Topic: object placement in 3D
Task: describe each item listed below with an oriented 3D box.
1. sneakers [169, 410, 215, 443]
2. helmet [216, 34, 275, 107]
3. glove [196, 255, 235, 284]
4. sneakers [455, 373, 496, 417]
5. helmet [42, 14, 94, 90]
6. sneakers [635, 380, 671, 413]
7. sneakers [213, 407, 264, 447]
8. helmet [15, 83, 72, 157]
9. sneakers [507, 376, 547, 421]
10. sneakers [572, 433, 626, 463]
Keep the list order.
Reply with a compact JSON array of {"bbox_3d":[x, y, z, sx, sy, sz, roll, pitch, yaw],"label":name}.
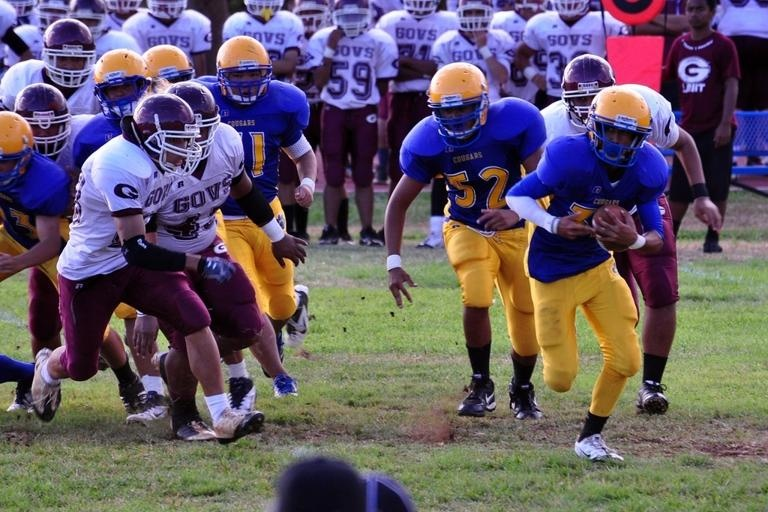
[{"bbox_3d":[-1.185,1.052,5.816,0.275,0.108,0.144,5,5,32],"label":"sneakers"},{"bbox_3d":[-0.952,-1.328,6.604,0.368,0.404,0.476,-5,40,-9],"label":"helmet"},{"bbox_3d":[-0.967,0.080,5.450,0.194,0.131,0.074,-5,-11,-15],"label":"glove"},{"bbox_3d":[0.619,0.922,6.228,0.232,0.264,0.256,0,3,11],"label":"sneakers"},{"bbox_3d":[-2.354,-1.528,7.055,0.392,0.419,0.513,-1,31,-15],"label":"helmet"},{"bbox_3d":[1.741,0.916,6.071,0.193,0.208,0.303,1,3,13],"label":"sneakers"},{"bbox_3d":[-0.863,0.978,5.355,0.347,0.133,0.173,-19,-43,40],"label":"sneakers"},{"bbox_3d":[-2.218,-0.868,6.212,0.388,0.391,0.468,-8,40,-18],"label":"helmet"},{"bbox_3d":[0.944,0.934,6.202,0.225,0.250,0.225,0,3,7],"label":"sneakers"},{"bbox_3d":[1.263,1.115,5.464,0.300,0.131,0.114,4,16,20],"label":"sneakers"}]
